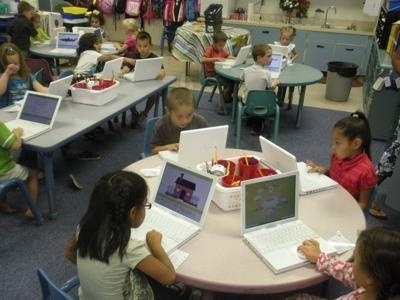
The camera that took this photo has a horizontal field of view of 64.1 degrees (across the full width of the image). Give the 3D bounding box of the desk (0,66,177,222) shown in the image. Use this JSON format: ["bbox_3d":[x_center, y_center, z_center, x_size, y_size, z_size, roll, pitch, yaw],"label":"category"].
[{"bbox_3d":[-1.045,-0.081,2.809,0.674,0.407,1.668,22,50,16],"label":"desk"}]

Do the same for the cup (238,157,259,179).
[{"bbox_3d":[0.299,0.112,2.014,0.118,0.126,0.130,1,36,3],"label":"cup"}]

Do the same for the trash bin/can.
[{"bbox_3d":[2.396,-1.233,5.857,0.648,0.741,0.669,0,27,-7],"label":"trash bin/can"}]

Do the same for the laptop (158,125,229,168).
[{"bbox_3d":[-0.005,-0.059,2.067,0.338,0.262,0.285,-11,24,-30],"label":"laptop"}]

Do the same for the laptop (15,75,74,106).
[{"bbox_3d":[-1.400,-0.606,2.928,0.301,0.253,0.402,10,28,-1],"label":"laptop"}]

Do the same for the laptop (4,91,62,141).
[{"bbox_3d":[-1.372,-0.326,2.771,0.442,0.299,0.432,16,33,14],"label":"laptop"}]

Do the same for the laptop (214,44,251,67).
[{"bbox_3d":[0.532,-1.431,4.904,0.384,0.300,0.471,18,36,27],"label":"laptop"}]

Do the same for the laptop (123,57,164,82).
[{"bbox_3d":[-0.647,-1.036,3.825,0.393,0.301,0.329,-17,41,-33],"label":"laptop"}]

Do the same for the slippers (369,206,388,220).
[{"bbox_3d":[1.674,0.597,3.030,0.132,0.046,0.155,-6,27,-17],"label":"slippers"}]

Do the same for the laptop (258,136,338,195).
[{"bbox_3d":[0.622,0.152,2.083,0.370,0.273,0.429,-9,26,-16],"label":"laptop"}]

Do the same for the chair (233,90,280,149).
[{"bbox_3d":[0.721,-0.436,4.122,0.664,0.923,0.661,0,54,3],"label":"chair"}]

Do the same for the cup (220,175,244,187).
[{"bbox_3d":[0.178,0.184,1.854,0.077,0.035,0.075,0,29,0],"label":"cup"}]

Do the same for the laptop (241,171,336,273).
[{"bbox_3d":[0.357,0.360,1.679,0.490,0.434,0.418,-10,29,-24],"label":"laptop"}]

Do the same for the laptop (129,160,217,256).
[{"bbox_3d":[-0.124,0.283,1.731,0.389,0.314,0.428,19,31,26],"label":"laptop"}]

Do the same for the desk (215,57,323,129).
[{"bbox_3d":[1.272,-1.022,4.853,1.175,0.616,1.246,1,42,2],"label":"desk"}]

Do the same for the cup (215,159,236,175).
[{"bbox_3d":[0.159,0.096,1.999,0.097,0.100,0.085,18,29,39],"label":"cup"}]

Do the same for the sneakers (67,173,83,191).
[{"bbox_3d":[-1.274,0.324,3.240,0.084,0.056,0.302,-29,28,-19],"label":"sneakers"}]

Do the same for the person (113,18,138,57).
[{"bbox_3d":[-1.253,-1.854,5.413,0.367,0.735,0.411,13,24,9],"label":"person"}]

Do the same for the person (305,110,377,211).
[{"bbox_3d":[1.054,0.103,2.330,0.400,0.757,0.521,-7,17,-5],"label":"person"}]
